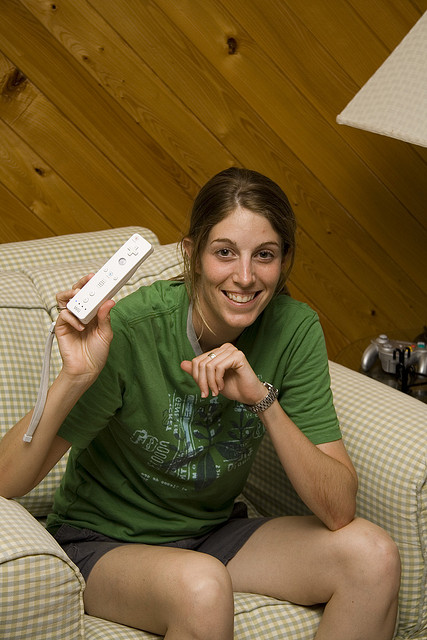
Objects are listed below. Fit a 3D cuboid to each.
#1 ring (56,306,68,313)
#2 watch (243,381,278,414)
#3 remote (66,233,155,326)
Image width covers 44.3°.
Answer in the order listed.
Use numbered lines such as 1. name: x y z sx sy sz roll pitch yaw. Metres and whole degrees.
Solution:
1. ring: -0.209 -0.012 0.719 0.012 0.006 0.009 -8 23 -23
2. watch: 0.073 0.121 0.806 0.030 0.047 0.051 29 16 -23
3. remote: -0.141 -0.050 0.694 0.049 0.094 0.085 34 15 -5
